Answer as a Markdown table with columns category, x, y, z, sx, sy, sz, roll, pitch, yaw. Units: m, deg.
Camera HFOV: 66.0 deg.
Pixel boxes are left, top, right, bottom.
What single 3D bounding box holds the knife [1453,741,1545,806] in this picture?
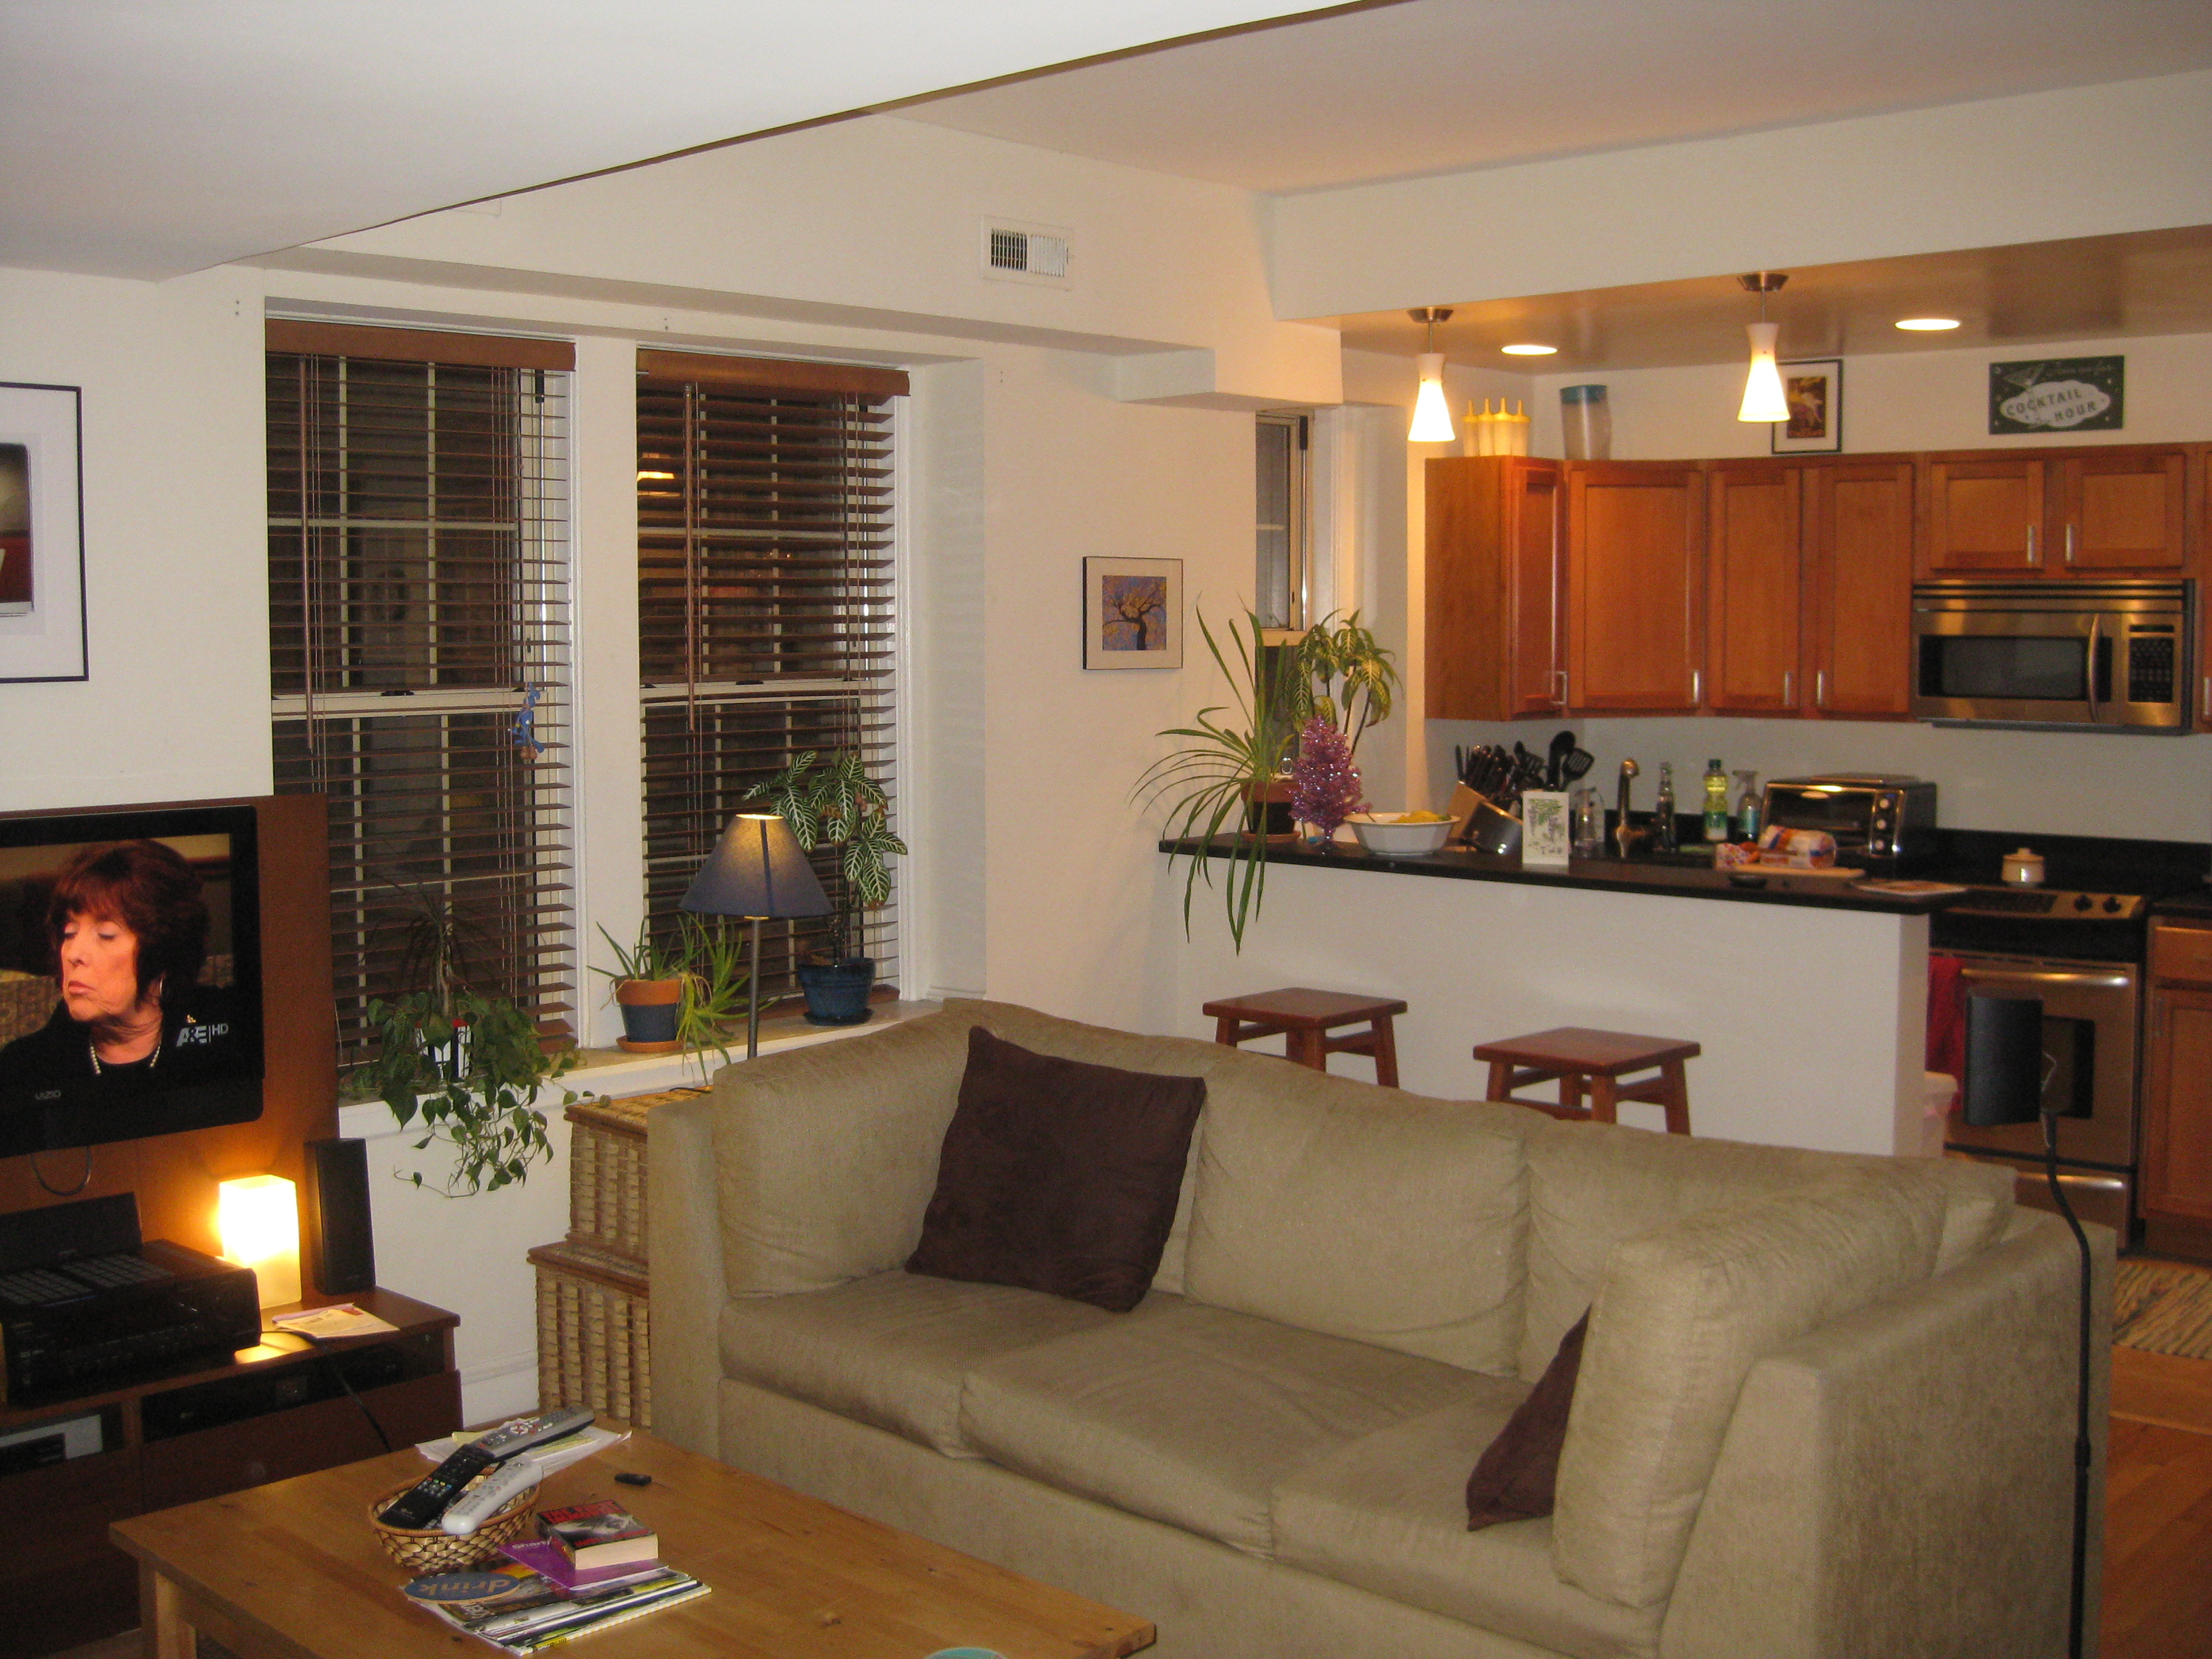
| category | x | y | z | sx | sy | sz | roll | pitch | yaw |
| --- | --- | --- | --- | --- | --- | --- | --- | --- | --- |
| knife | 1.481 | -0.222 | 6.336 | 0.302 | 0.156 | 0.406 | 5 | 8 | 42 |

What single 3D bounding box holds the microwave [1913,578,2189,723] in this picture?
| category | x | y | z | sx | sy | sz | roll | pitch | yaw |
| --- | --- | --- | --- | --- | --- | --- | --- | --- | --- |
| microwave | 3.571 | -0.696 | 6.509 | 0.871 | 0.545 | 0.542 | 4 | 5 | 44 |

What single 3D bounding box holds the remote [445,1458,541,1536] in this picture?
| category | x | y | z | sx | sy | sz | roll | pitch | yaw |
| --- | --- | --- | --- | --- | --- | --- | --- | --- | --- |
| remote | -1.046 | 1.141 | 2.918 | 0.046 | 0.055 | 0.193 | -36 | 4 | 18 |

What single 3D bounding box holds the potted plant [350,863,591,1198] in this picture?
| category | x | y | z | sx | sy | sz | roll | pitch | yaw |
| --- | --- | --- | --- | --- | --- | --- | --- | --- | --- |
| potted plant | -1.763 | 0.584 | 4.701 | 0.555 | 0.851 | 0.476 | -4 | 5 | -25 |

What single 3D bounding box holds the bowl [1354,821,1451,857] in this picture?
| category | x | y | z | sx | sy | sz | roll | pitch | yaw |
| --- | --- | --- | --- | --- | --- | --- | --- | --- | --- |
| bowl | 1.004 | 0.027 | 5.799 | 0.293 | 0.136 | 0.198 | -2 | 4 | -6 |

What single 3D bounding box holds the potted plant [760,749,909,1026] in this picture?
| category | x | y | z | sx | sy | sz | roll | pitch | yaw |
| --- | --- | --- | --- | --- | --- | --- | --- | --- | --- |
| potted plant | -0.915 | 0.162 | 5.604 | 0.518 | 0.921 | 0.468 | 1 | -5 | -2 |

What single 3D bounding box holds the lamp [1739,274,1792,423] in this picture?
| category | x | y | z | sx | sy | sz | roll | pitch | yaw |
| --- | --- | --- | --- | --- | --- | --- | --- | --- | --- |
| lamp | 2.035 | -1.507 | 5.280 | 0.185 | 0.447 | 0.184 | -8 | 18 | -4 |

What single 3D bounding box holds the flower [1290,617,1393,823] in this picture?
| category | x | y | z | sx | sy | sz | roll | pitch | yaw |
| --- | --- | --- | --- | --- | --- | --- | --- | --- | --- |
| flower | 0.909 | -0.440 | 6.487 | 0.373 | 0.831 | 1.252 | -1 | 4 | 10 |

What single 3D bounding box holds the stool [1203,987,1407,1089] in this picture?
| category | x | y | z | sx | sy | sz | roll | pitch | yaw |
| --- | --- | --- | --- | --- | --- | --- | --- | --- | --- |
| stool | 0.689 | 0.630 | 5.698 | 0.408 | 0.427 | 0.421 | 5 | 11 | 31 |

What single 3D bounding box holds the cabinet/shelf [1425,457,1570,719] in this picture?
| category | x | y | z | sx | sy | sz | roll | pitch | yaw |
| --- | --- | --- | --- | --- | --- | --- | --- | --- | --- |
| cabinet/shelf | 1.663 | -1.026 | 7.282 | 0.431 | 1.087 | 0.613 | -1 | 1 | 42 |

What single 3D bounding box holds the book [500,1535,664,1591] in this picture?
| category | x | y | z | sx | sy | sz | roll | pitch | yaw |
| --- | --- | --- | --- | --- | --- | --- | --- | --- | --- |
| book | -0.858 | 1.225 | 2.850 | 0.118 | 0.028 | 0.116 | 0 | 1 | -36 |

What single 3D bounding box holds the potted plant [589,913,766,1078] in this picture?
| category | x | y | z | sx | sy | sz | roll | pitch | yaw |
| --- | --- | --- | --- | --- | --- | --- | --- | --- | --- |
| potted plant | -1.329 | 0.486 | 5.233 | 0.416 | 0.404 | 0.382 | 2 | -10 | -25 |

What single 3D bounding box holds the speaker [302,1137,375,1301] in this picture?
| category | x | y | z | sx | sy | sz | roll | pitch | yaw |
| --- | --- | --- | --- | --- | --- | --- | --- | --- | --- |
| speaker | -1.905 | 0.946 | 4.203 | 0.149 | 0.374 | 0.181 | -4 | 5 | -31 |

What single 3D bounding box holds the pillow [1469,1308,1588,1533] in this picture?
| category | x | y | z | sx | sy | sz | roll | pitch | yaw |
| --- | --- | --- | --- | --- | --- | --- | --- | --- | --- |
| pillow | 0.706 | 1.019 | 2.901 | 0.093 | 0.326 | 0.288 | 23 | -35 | -2 |

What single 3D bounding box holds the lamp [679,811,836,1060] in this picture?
| category | x | y | z | sx | sy | sz | roll | pitch | yaw |
| --- | --- | --- | --- | --- | --- | --- | --- | --- | --- |
| lamp | -0.943 | 0.325 | 4.553 | 0.493 | 0.731 | 0.494 | 0 | 10 | -14 |

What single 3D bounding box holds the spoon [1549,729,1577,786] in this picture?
| category | x | y | z | sx | sy | sz | roll | pitch | yaw |
| --- | --- | --- | --- | --- | --- | --- | --- | --- | --- |
| spoon | 2.038 | -0.332 | 7.642 | 0.085 | 0.270 | 0.048 | 2 | -12 | 11 |

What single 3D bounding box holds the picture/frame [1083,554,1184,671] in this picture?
| category | x | y | z | sx | sy | sz | roll | pitch | yaw |
| --- | --- | --- | --- | --- | --- | --- | --- | --- | --- |
| picture/frame | 0.076 | -0.796 | 6.131 | 0.426 | 0.374 | 0.039 | -4 | 5 | -42 |

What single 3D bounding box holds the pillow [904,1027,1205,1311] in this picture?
| category | x | y | z | sx | sy | sz | roll | pitch | yaw |
| --- | --- | --- | --- | --- | --- | --- | --- | --- | --- |
| pillow | -0.128 | 0.807 | 3.978 | 0.591 | 0.560 | 0.175 | 10 | -11 | 37 |

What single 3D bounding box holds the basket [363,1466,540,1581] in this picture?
| category | x | y | z | sx | sy | sz | roll | pitch | yaw |
| --- | --- | --- | --- | --- | --- | --- | --- | --- | --- |
| basket | -1.099 | 1.181 | 2.924 | 0.149 | 0.057 | 0.161 | -3 | -5 | 31 |

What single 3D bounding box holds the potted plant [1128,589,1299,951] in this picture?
| category | x | y | z | sx | sy | sz | roll | pitch | yaw |
| --- | --- | --- | --- | --- | --- | --- | --- | --- | --- |
| potted plant | 0.575 | -0.218 | 6.460 | 0.599 | 1.231 | 0.881 | 1 | 5 | 32 |

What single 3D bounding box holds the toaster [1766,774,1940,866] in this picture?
| category | x | y | z | sx | sy | sz | roll | pitch | yaw |
| --- | --- | --- | --- | --- | --- | --- | --- | --- | --- |
| toaster | 3.036 | -0.037 | 6.989 | 0.610 | 0.348 | 0.215 | 0 | 5 | 21 |
